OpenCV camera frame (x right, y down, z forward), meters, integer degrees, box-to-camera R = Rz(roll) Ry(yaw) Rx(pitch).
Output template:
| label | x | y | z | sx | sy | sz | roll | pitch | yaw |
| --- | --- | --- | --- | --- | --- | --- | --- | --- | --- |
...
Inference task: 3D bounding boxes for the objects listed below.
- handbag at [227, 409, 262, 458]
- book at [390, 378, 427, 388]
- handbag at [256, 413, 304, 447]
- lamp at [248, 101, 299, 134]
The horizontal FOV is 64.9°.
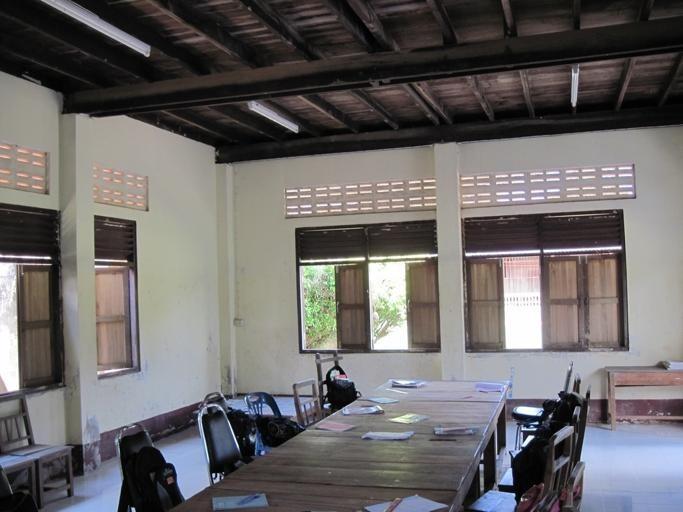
| label | x | y | z | sx | sy | sz | roll | pitch | yaw |
| --- | --- | --- | --- | --- | --- | --- | --- | --- | --- |
| handbag | -0.836 | 1.600 | 4.891 | 0.213 | 0.401 | 0.282 | -8 | -2 | 14 |
| book | 0.844 | 1.607 | 6.778 | 0.365 | 0.095 | 0.391 | 0 | -6 | 7 |
| handbag | -0.584 | 1.571 | 5.059 | 0.365 | 0.180 | 0.486 | -30 | -48 | 29 |
| lamp | -0.962 | -1.957 | 7.345 | 0.172 | 0.257 | 1.373 | -2 | -1 | 23 |
